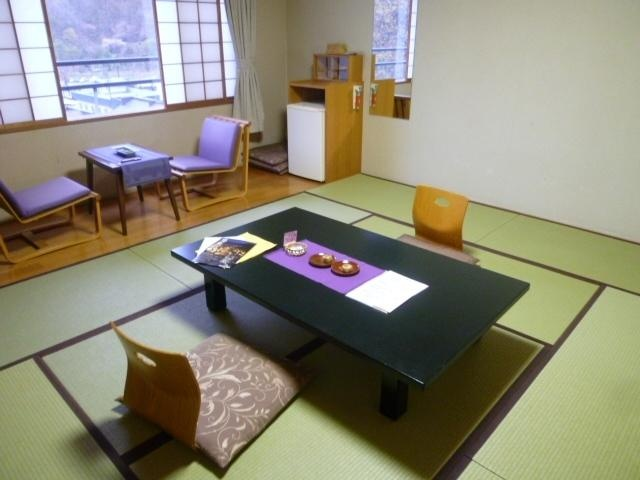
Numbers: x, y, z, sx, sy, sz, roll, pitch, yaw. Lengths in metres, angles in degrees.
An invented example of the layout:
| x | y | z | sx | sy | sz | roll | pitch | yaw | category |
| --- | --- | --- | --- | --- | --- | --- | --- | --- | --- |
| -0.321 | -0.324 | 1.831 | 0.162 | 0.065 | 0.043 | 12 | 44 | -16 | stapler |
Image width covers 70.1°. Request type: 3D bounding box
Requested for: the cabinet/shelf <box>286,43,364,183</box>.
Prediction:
| x | y | z | sx | sy | sz | roll | pitch | yaw | category |
| --- | --- | --- | --- | --- | --- | --- | --- | --- | --- |
| 0.049 | -1.541 | 5.550 | 0.847 | 1.479 | 0.779 | 25 | 38 | 36 | cabinet/shelf |
